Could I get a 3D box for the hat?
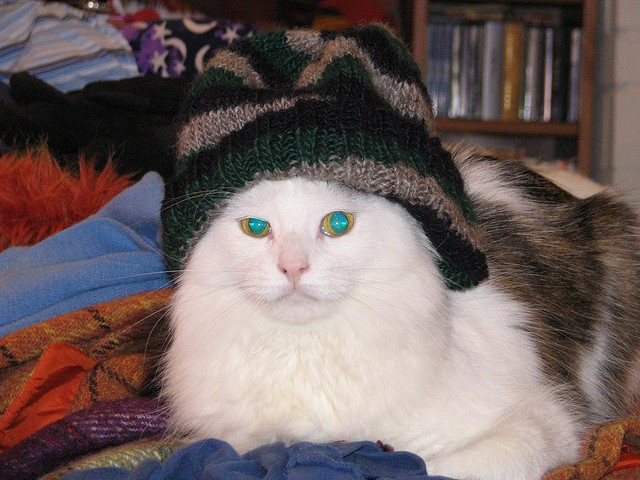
[{"bbox_3d":[0.002,-0.190,1.766,0.745,0.468,0.587,1,2,-11],"label":"hat"}]
